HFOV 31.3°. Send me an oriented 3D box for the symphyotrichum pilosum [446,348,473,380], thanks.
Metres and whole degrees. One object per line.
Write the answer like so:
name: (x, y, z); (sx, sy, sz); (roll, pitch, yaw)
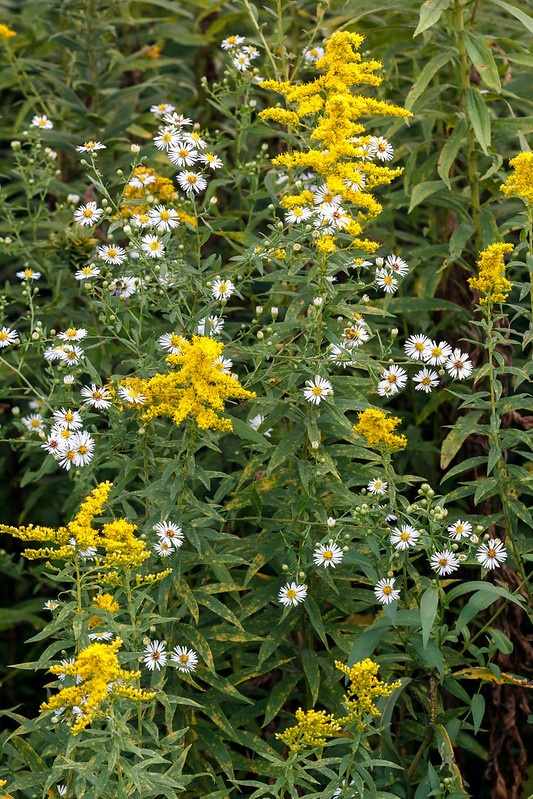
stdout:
symphyotrichum pilosum: (0.396, -0.065, 1.953); (0.060, 0.061, 0.020); (-6, -20, 15)
